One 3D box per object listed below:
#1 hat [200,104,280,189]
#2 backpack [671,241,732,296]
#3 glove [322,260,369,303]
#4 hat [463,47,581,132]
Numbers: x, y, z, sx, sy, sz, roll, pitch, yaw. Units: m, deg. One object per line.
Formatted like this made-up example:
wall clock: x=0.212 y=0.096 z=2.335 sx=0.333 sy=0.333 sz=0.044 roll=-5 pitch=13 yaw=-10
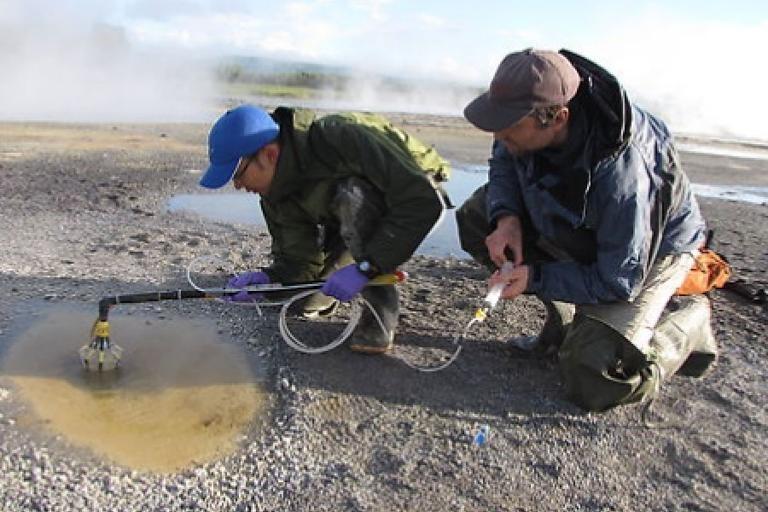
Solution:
hat: x=-0.920 y=-0.659 z=4.107 sx=0.484 sy=0.568 sz=0.330 roll=2 pitch=22 yaw=-11
backpack: x=2.150 y=0.117 z=4.279 sx=0.380 sy=0.156 sz=0.323 roll=-20 pitch=35 yaw=27
glove: x=-0.242 y=0.168 z=4.050 sx=0.200 sy=0.091 sz=0.291 roll=38 pitch=79 yaw=16
hat: x=0.815 y=-1.065 z=3.820 sx=0.752 sy=0.330 sz=0.511 roll=-19 pitch=37 yaw=-5
